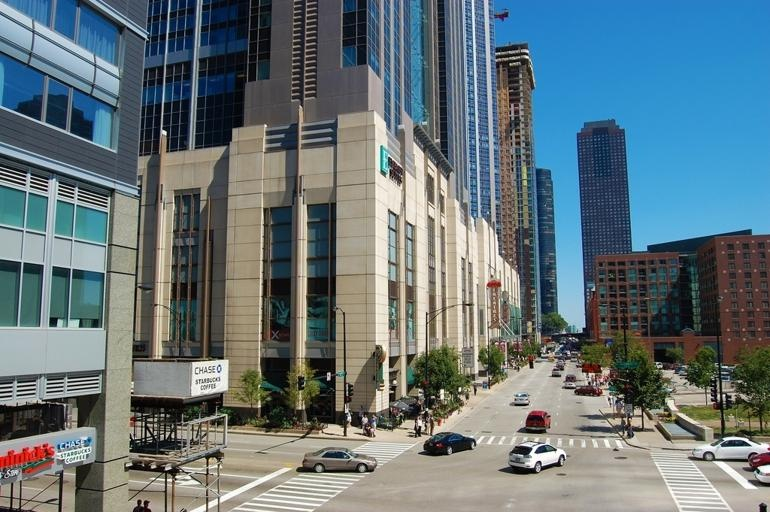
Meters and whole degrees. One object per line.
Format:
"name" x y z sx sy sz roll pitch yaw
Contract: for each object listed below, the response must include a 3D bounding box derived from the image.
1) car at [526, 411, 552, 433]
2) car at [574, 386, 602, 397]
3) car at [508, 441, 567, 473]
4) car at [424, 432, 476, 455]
"car" 14.628 15.764 66.491 1.448 1.217 2.760 0 1 23
"car" 27.396 18.461 94.702 2.751 1.109 1.585 0 -6 32
"car" 11.510 15.249 52.925 4.255 2.132 1.300 1 -13 -27
"car" 5.520 15.735 58.611 3.925 1.193 1.688 2 -3 -45
